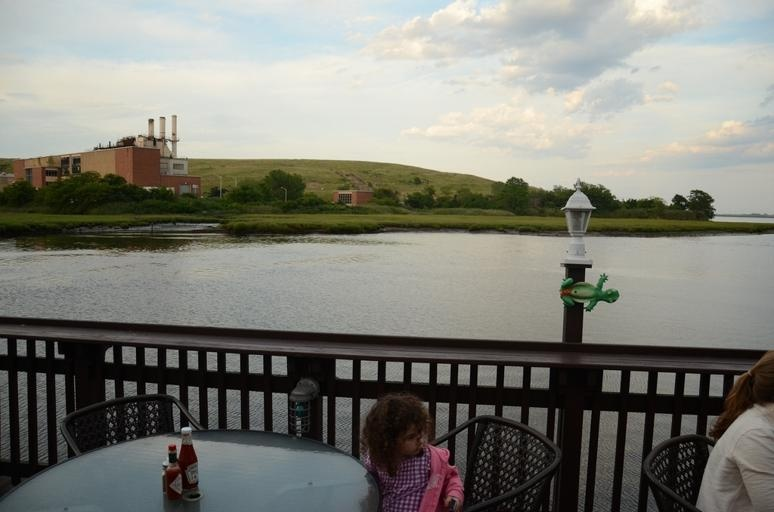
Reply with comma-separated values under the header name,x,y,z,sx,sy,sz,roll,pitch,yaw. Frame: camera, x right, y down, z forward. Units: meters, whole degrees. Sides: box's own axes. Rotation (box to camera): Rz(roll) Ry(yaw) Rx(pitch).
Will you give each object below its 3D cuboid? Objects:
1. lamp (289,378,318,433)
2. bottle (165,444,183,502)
name,x,y,z,sx,sy,sz,roll,pitch,yaw
lamp,-0.648,1.221,5.364,0.245,0.500,0.197,-1,7,-17
bottle,-1.371,1.379,4.352,0.132,0.369,0.091,0,7,-10
